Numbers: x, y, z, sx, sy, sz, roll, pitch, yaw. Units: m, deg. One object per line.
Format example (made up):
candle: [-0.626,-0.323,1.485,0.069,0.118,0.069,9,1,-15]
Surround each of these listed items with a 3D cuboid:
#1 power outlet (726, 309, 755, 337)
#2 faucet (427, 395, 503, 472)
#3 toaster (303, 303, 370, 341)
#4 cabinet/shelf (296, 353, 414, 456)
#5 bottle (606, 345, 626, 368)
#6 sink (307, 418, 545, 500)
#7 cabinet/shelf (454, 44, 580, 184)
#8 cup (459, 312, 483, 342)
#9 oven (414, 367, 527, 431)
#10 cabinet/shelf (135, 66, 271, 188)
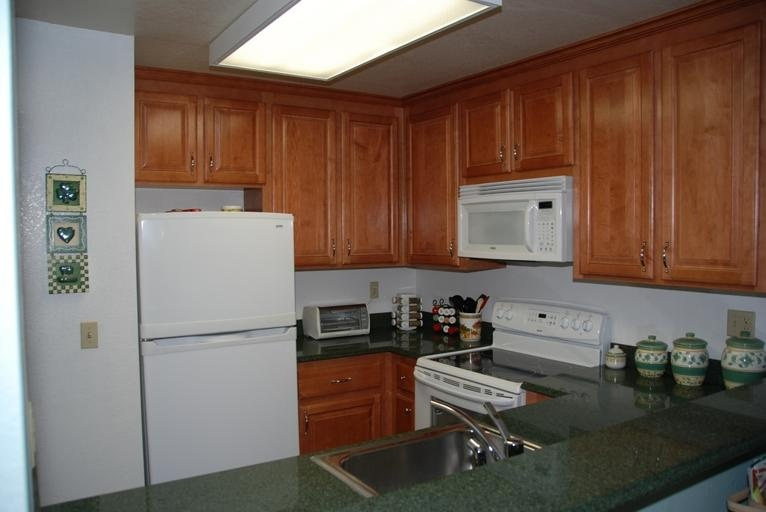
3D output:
power outlet: [1.814,0.337,2.775,0.019,0.159,0.149,-2,6,-33]
faucet: [0.298,0.656,2.096,0.221,0.222,0.410,-4,1,-1]
toaster: [-0.242,0.477,4.098,0.498,0.254,0.346,-4,-7,32]
cabinet/shelf: [-0.195,0.920,3.737,0.881,0.751,0.601,-2,1,-32]
bottle: [1.334,0.582,3.174,0.116,0.119,0.112,1,-2,-24]
sink: [0.096,0.803,2.109,0.622,0.213,0.391,1,-1,-37]
cabinet/shelf: [0.903,-0.800,3.477,0.312,0.683,0.870,-2,2,-38]
cup: [0.628,0.503,3.892,0.175,0.208,0.174,-4,1,0]
oven: [0.475,0.741,2.890,0.368,0.373,0.562,2,-1,-35]
cabinet/shelf: [-1.174,-0.800,3.605,0.854,0.649,0.319,3,9,-7]
